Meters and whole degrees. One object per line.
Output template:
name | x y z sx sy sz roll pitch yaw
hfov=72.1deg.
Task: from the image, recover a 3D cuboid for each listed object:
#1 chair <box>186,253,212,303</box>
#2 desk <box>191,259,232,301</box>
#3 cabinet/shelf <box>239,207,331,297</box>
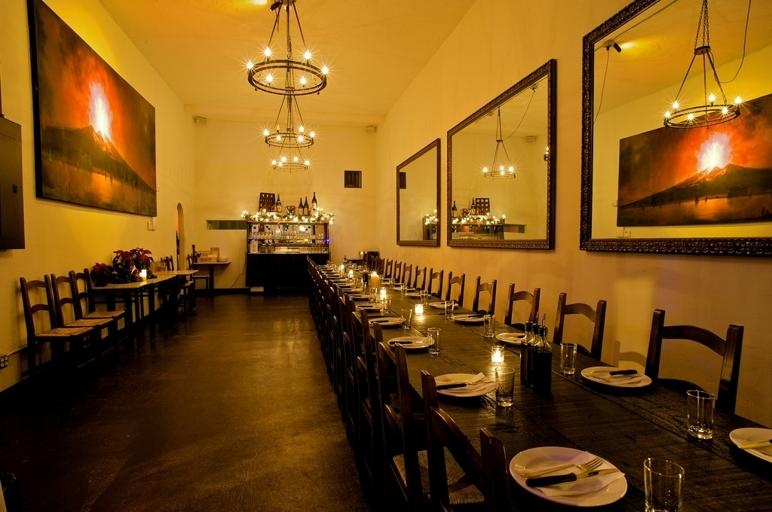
chair | -4.124 0.439 11.731 0.520 1.048 1.004 0 2 -9
desk | -4.088 0.555 12.534 0.801 0.801 0.827 0 2 -12
cabinet/shelf | -2.424 -0.076 12.183 2.010 1.994 0.842 0 0 -8
